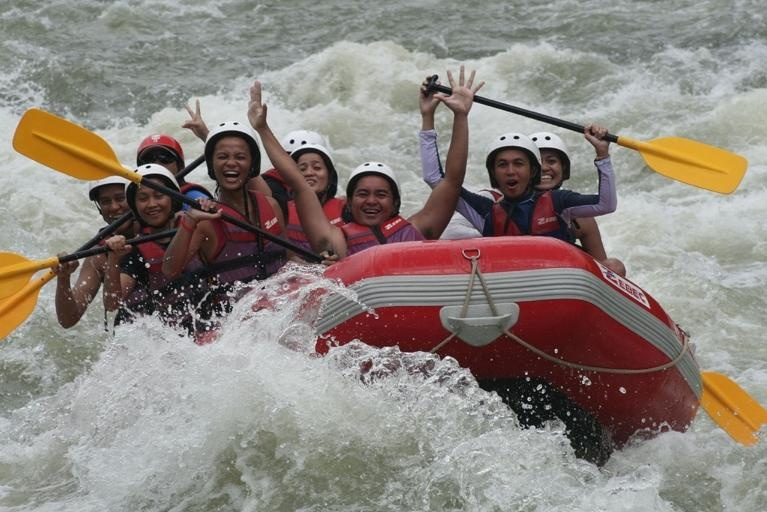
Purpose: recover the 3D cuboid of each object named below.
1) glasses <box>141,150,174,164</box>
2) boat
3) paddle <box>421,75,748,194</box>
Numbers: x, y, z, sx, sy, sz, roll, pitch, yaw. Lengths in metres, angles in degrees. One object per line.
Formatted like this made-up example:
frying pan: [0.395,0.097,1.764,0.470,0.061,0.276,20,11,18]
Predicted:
glasses: [-2.285,-0.990,9.184,0.199,0.285,0.082,-3,83,4]
boat: [1.181,0.533,9.194,3.892,4.033,1.350,-3,92,11]
paddle: [2.348,-1.325,10.238,4.002,0.455,0.546,21,96,5]
